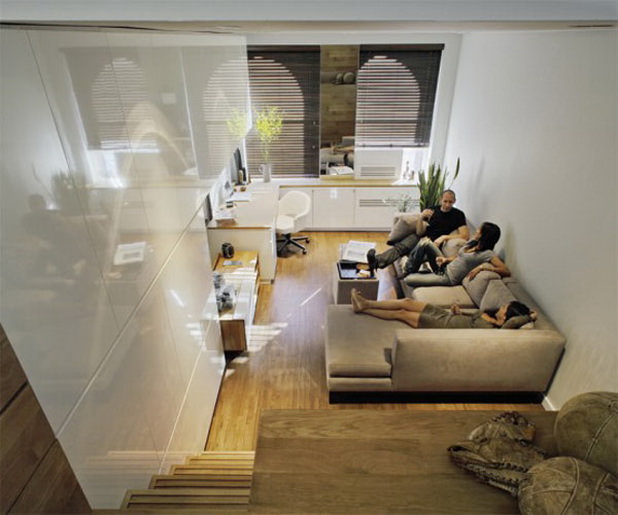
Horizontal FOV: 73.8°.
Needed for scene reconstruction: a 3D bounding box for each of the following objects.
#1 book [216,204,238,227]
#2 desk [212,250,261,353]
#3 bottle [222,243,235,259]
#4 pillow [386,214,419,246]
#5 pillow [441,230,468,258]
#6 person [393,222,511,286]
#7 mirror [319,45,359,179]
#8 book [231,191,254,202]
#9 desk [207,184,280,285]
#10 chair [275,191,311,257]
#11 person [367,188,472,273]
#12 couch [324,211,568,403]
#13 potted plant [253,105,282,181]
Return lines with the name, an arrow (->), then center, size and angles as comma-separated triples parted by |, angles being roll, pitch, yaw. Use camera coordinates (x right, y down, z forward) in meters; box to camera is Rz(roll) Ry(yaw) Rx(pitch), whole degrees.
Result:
book -> -1.034, -0.504, 5.148 | 0.267, 0.135, 0.328 | -6, 21, -10
desk -> -0.759, 0.485, 4.305 | 0.286, 0.349, 1.055 | -2, 35, -3
bottle -> -0.995, -0.086, 5.061 | 0.160, 0.215, 0.118 | 0, 32, -1
pillow -> 1.249, -0.391, 5.393 | 0.422, 0.408, 0.174 | -13, 38, -40
pillow -> 1.699, -0.149, 4.814 | 0.136, 0.235, 0.251 | 24, 16, -8
person -> 1.583, -0.018, 4.665 | 1.214, 0.770, 0.689 | 2, 19, 22
mirror -> 0.487, -2.287, 6.319 | 0.543, 1.917, 0.047 | 2, 8, 7
book -> -0.976, -0.900, 6.070 | 0.229, 0.053, 0.210 | 0, 27, 0
desk -> -0.842, -0.317, 5.808 | 0.551, 0.538, 1.517 | 13, 13, -24
chair -> -0.302, -0.524, 6.245 | 0.635, 0.832, 0.599 | 17, 34, 26
person -> 1.287, -0.318, 5.000 | 1.436, 0.858, 0.756 | -15, 18, -21
couch -> 1.245, 0.561, 4.257 | 1.884, 0.803, 2.067 | -1, 21, 3
potted plant -> -0.615, -1.829, 6.640 | 0.445, 1.113, 0.413 | -6, 22, -8
